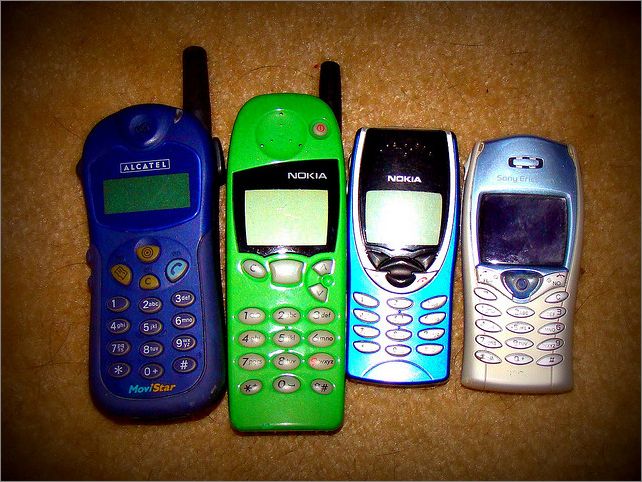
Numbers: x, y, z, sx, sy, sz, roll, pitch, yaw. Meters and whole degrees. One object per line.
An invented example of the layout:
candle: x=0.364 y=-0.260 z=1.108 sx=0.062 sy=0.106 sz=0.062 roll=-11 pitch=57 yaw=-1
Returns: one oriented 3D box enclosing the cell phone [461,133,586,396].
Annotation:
cell phone: x=0.295 y=0.031 z=1.001 sx=0.172 sy=0.362 sz=0.132 roll=4 pitch=15 yaw=11
